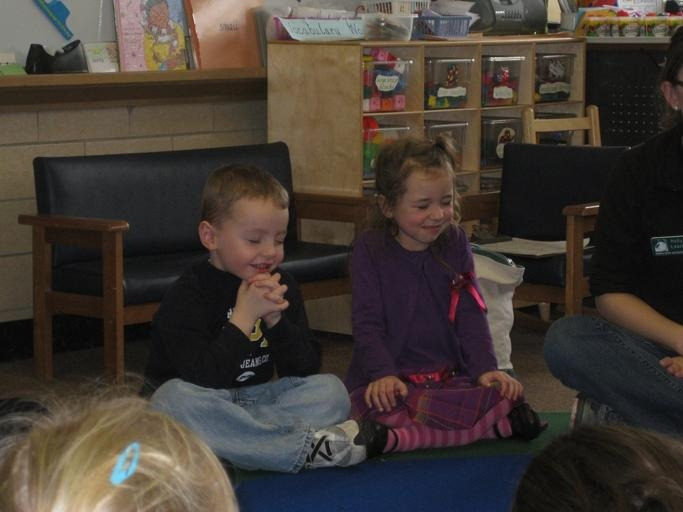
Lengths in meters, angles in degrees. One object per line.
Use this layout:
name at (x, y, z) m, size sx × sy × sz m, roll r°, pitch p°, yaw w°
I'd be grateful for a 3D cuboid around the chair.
chair at (1.424, -0.845, 4.115) m, size 0.476 × 0.440 × 0.350 m, roll -4°, pitch 6°, yaw -26°

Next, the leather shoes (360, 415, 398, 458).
leather shoes at (0.137, 0.595, 2.005) m, size 0.107 × 0.083 × 0.144 m, roll 12°, pitch 18°, yaw 31°

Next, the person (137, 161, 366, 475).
person at (-0.300, 0.198, 1.950) m, size 0.682 × 0.958 × 0.401 m, roll -6°, pitch 11°, yaw -19°

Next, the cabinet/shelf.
cabinet/shelf at (0.386, -0.365, 3.132) m, size 1.798 × 1.489 × 0.611 m, roll -9°, pitch 14°, yaw -36°

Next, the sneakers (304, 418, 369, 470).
sneakers at (-0.016, 0.595, 1.969) m, size 0.200 × 0.105 × 0.071 m, roll -21°, pitch 15°, yaw -23°

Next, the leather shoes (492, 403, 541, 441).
leather shoes at (0.640, 0.553, 2.179) m, size 0.102 × 0.103 × 0.138 m, roll -27°, pitch 34°, yaw 19°

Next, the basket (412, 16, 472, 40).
basket at (0.619, -1.378, 3.804) m, size 0.276 × 0.102 × 0.185 m, roll -5°, pitch 9°, yaw -39°

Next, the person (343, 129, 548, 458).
person at (0.315, 0.122, 2.172) m, size 0.705 × 0.969 × 0.701 m, roll -2°, pitch 8°, yaw -12°

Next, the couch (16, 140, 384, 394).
couch at (-0.702, 0.029, 3.425) m, size 0.809 × 1.185 × 1.862 m, roll 10°, pitch 13°, yaw 37°
